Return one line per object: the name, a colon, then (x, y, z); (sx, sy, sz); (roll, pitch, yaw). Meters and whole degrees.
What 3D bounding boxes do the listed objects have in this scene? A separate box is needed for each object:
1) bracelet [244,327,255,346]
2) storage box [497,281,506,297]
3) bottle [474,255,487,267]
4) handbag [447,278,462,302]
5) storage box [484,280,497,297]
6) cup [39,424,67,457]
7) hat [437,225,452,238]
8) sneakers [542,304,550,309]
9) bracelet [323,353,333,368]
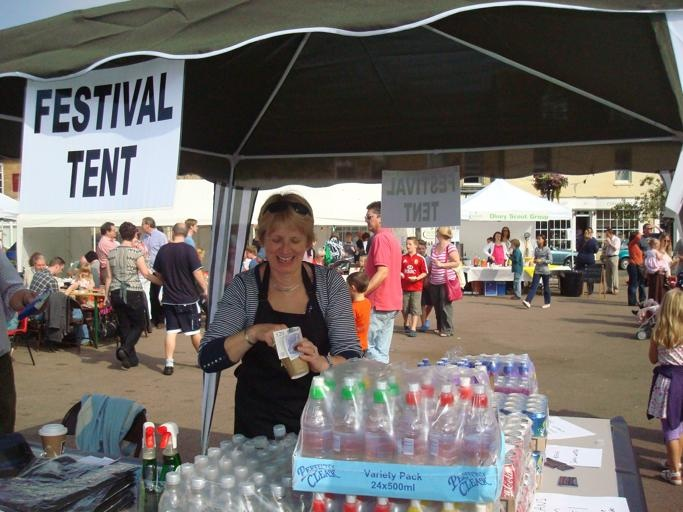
bracelet: (-0.509, 0.455, 3.400); (0.044, 0.086, 0.068); (-23, 34, -28)
storage box: (5.214, 1.065, 19.735); (0.313, 0.481, 0.463); (0, 4, 15)
bottle: (4.761, 0.190, 20.742); (0.257, 0.461, 0.449); (1, -10, -4)
handbag: (2.248, 0.676, 12.120); (0.208, 0.561, 0.472); (-2, 3, 44)
storage box: (4.835, 1.041, 19.663); (0.401, 0.462, 0.435); (-1, -4, 4)
cup: (-1.779, 1.118, 3.695); (0.150, 0.171, 0.156); (-1, -7, 0)
hat: (1.858, -0.424, 10.911); (0.145, 0.219, 0.205); (4, -16, -9)
sneakers: (5.550, 1.373, 16.366); (0.132, 0.120, 0.335); (8, -9, 5)
bracelet: (-0.069, 0.599, 3.450); (0.042, 0.068, 0.069); (-6, -14, -1)
